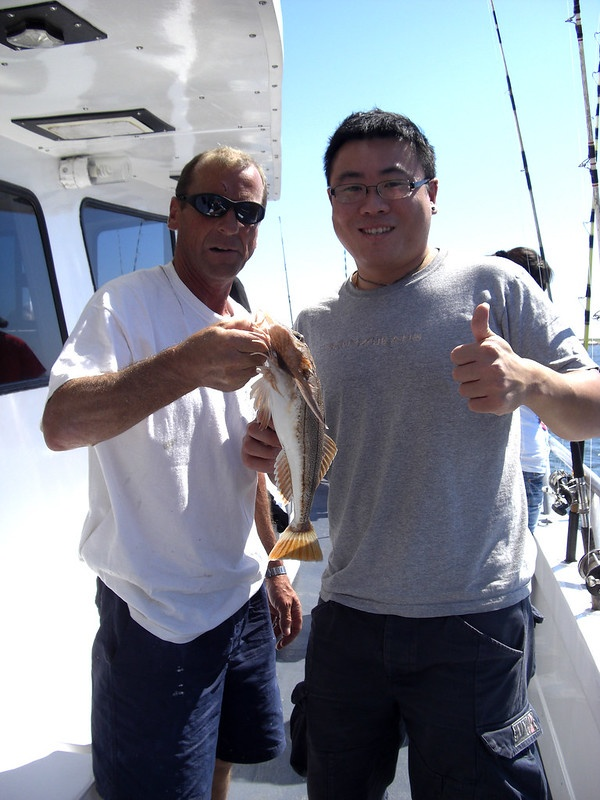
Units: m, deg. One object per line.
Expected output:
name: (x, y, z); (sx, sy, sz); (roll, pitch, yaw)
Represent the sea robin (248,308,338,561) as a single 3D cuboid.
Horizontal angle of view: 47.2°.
sea robin: (0.016, 0.123, 2.365); (0.327, 0.752, 0.360); (-9, 23, -26)
